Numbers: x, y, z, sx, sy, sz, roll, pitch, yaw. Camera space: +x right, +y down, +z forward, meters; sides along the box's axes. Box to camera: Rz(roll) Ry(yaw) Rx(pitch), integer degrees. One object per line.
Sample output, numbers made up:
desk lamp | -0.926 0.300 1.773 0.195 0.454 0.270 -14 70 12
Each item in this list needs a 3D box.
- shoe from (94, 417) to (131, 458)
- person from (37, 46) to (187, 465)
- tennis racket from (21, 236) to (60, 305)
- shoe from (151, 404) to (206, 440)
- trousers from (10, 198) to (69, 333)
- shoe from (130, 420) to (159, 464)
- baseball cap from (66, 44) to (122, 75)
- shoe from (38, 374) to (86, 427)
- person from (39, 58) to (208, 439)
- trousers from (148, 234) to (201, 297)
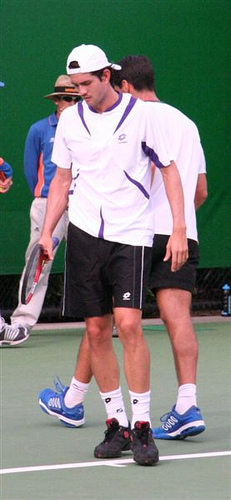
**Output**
shoe | 0.001 0.667 1.617 0.069 0.134 0.178 -23 -19 39
person | -0.013 -0.020 1.608 0.414 1.482 0.404 -6 -8 15
tennis racket | -0.334 0.084 1.819 0.093 0.164 0.281 10 36 6
shoe | 0.264 0.736 1.956 0.109 0.169 0.311 8 -25 -36
trousers | -0.811 0.118 4.483 0.256 1.813 0.481 3 -3 13
shoe | 0.091 0.615 1.451 0.082 0.130 0.090 -4 -9 2
baseball cap | -0.084 -0.663 1.601 0.149 0.092 0.099 -26 25 -38
shoe | -0.287 0.750 2.267 0.303 0.157 0.109 23 11 39
person | -0.068 -0.013 2.089 0.621 1.829 0.639 -1 -2 30
trousers | 0.236 0.060 1.859 0.216 0.253 0.131 5 -4 -15
